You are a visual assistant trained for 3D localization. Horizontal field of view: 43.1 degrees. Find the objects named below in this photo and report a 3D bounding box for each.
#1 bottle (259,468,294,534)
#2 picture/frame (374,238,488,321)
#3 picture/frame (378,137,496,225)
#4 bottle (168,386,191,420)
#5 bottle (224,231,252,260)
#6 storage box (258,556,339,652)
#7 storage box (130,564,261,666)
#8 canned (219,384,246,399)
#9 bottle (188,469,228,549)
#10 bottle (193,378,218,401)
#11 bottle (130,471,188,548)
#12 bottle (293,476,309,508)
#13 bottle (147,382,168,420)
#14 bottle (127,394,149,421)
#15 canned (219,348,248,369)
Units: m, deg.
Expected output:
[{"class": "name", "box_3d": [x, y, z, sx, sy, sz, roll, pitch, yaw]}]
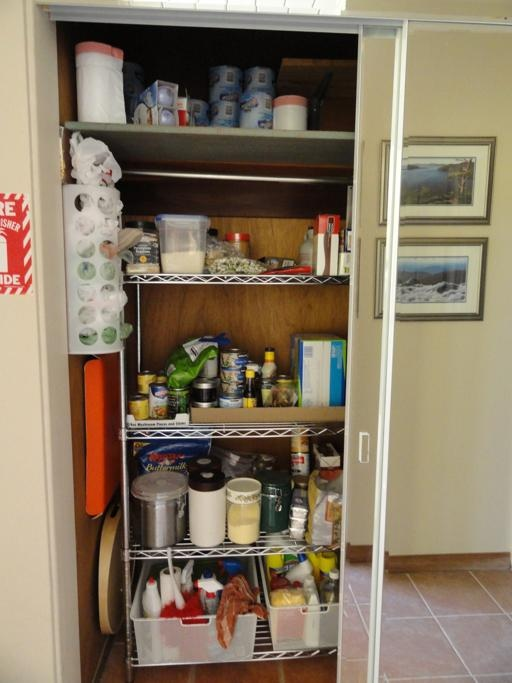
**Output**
[{"class": "bottle", "box_3d": [0.060, 0.502, 1.990, 0.093, 0.164, 0.087, 0, 10, 0]}, {"class": "picture/frame", "box_3d": [0.421, -0.158, 1.578, 0.207, 0.148, 0.010, 1, 7, 4]}, {"class": "picture/frame", "box_3d": [0.424, -0.392, 1.557, 0.227, 0.156, 0.010, 0, 6, -4]}, {"class": "bottle", "box_3d": [-0.227, 0.174, 1.894, 0.076, 0.082, 0.075, 1, 2, 2]}, {"class": "bottle", "box_3d": [-0.051, -0.296, 1.992, 0.078, 0.080, 0.077, 1, 5, 20]}, {"class": "storage box", "box_3d": [0.134, 0.779, 1.916, 0.252, 0.174, 0.387, 0, -8, -3]}, {"class": "storage box", "box_3d": [-0.184, 0.793, 1.898, 0.256, 0.107, 0.251, 0, 5, -5]}, {"class": "canned", "box_3d": [-0.071, 0.142, 1.922, 0.071, 0.045, 0.051, 2, 10, 9]}, {"class": "bottle", "box_3d": [-0.142, 0.490, 1.890, 0.101, 0.206, 0.084, -2, 10, -9]}, {"class": "bottle", "box_3d": [-0.148, 0.137, 1.890, 0.068, 0.048, 0.066, 1, 1, 0]}, {"class": "bottle", "box_3d": [-0.271, 0.481, 1.928, 0.187, 0.173, 0.187, 8, 11, 42]}, {"class": "bottle", "box_3d": [0.140, 0.473, 2.047, 0.063, 0.110, 0.065, -1, 5, 0]}, {"class": "bottle", "box_3d": [-0.280, 0.167, 1.869, 0.057, 0.099, 0.067, -1, 10, -8]}, {"class": "bottle", "box_3d": [-0.332, 0.185, 1.835, 0.068, 0.072, 0.068, 1, 1, -42]}, {"class": "canned", "box_3d": [-0.068, 0.047, 1.932, 0.063, 0.037, 0.062, 4, 2, 13]}]
